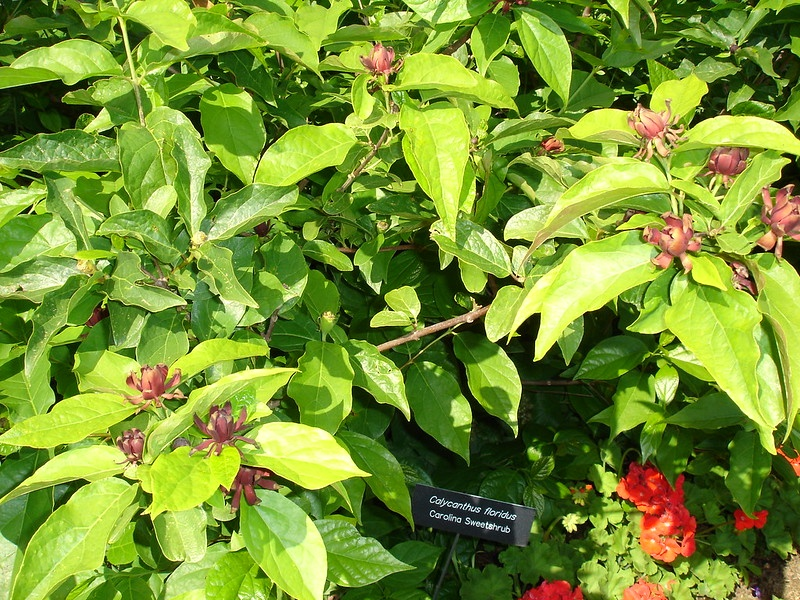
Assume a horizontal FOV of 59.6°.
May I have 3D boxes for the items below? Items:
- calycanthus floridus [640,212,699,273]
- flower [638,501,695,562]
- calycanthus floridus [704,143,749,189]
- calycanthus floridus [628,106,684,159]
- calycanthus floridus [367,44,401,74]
[{"bbox_3d":[0.542,-0.106,1.412,0.058,0.118,0.099,6,-11,-45],"label":"calycanthus floridus"},{"bbox_3d":[1.287,1.092,3.355,0.288,0.278,0.089,9,8,1],"label":"flower"},{"bbox_3d":[0.730,-0.310,1.593,0.089,0.105,0.091,8,33,13],"label":"calycanthus floridus"},{"bbox_3d":[0.580,-0.377,1.570,0.121,0.124,0.113,13,21,32],"label":"calycanthus floridus"},{"bbox_3d":[-0.038,-0.550,1.625,0.082,0.051,0.077,-16,23,-4],"label":"calycanthus floridus"}]
